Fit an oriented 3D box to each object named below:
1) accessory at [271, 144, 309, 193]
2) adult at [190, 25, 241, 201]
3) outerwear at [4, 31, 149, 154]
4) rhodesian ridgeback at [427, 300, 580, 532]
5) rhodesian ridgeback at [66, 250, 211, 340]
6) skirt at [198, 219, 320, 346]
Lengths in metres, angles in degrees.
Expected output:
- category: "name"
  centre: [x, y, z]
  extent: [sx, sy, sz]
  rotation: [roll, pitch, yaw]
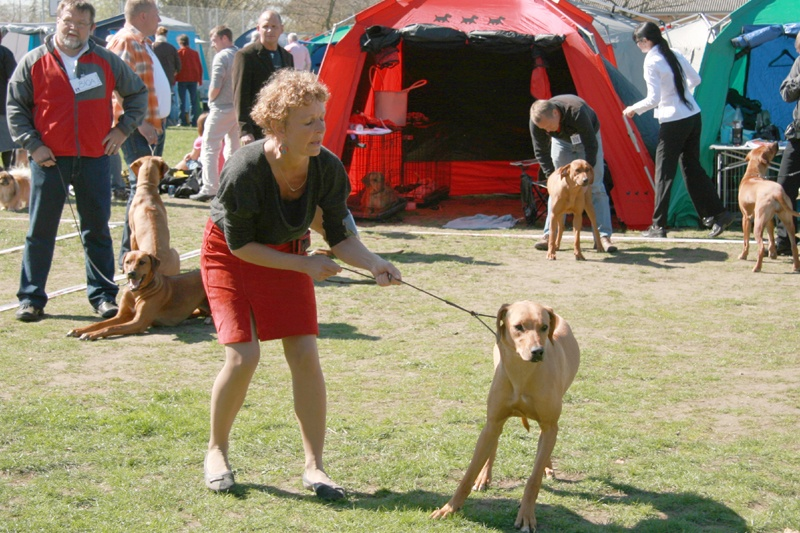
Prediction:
- category: "accessory"
  centre: [-0.744, -0.644, 5.716]
  extent: [0.240, 0.321, 0.085]
  rotation: [-1, 10, -2]
- category: "adult"
  centre: [-2.758, -2.309, 13.012]
  extent: [0.735, 2.482, 0.929]
  rotation: [11, 14, 40]
- category: "outerwear"
  centre: [-3.130, -1.608, 8.254]
  extent: [1.253, 1.111, 0.404]
  rotation: [-5, 15, -23]
- category: "rhodesian ridgeback"
  centre: [0.830, 0.936, 5.863]
  extent: [0.621, 1.391, 1.259]
  rotation: [11, 17, 33]
- category: "rhodesian ridgeback"
  centre: [-2.440, 0.242, 8.539]
  extent: [0.559, 0.778, 1.906]
  rotation: [5, 4, 25]
- category: "skirt"
  centre: [-0.946, -0.094, 5.925]
  extent: [0.777, 1.035, 0.564]
  rotation: [-8, 34, -20]
